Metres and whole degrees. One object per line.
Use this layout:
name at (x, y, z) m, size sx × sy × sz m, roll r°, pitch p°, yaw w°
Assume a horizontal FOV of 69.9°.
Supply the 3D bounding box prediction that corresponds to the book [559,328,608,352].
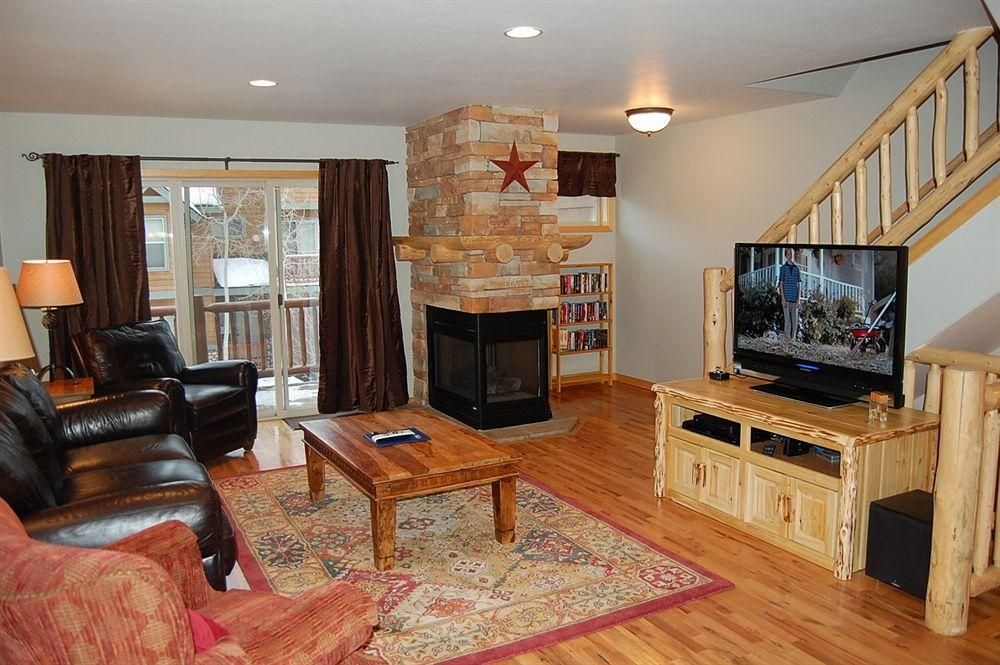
book at (0.976, 0.087, 8.324) m, size 0.630 × 0.252 × 0.065 m, roll -6°, pitch 11°, yaw -26°

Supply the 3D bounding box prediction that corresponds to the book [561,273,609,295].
book at (0.963, -0.568, 8.320) m, size 0.627 × 0.248 × 0.191 m, roll -7°, pitch 11°, yaw -34°

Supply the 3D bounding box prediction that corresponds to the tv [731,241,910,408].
tv at (2.128, -0.047, 4.684) m, size 0.328 × 0.782 × 1.166 m, roll -5°, pitch 8°, yaw -29°

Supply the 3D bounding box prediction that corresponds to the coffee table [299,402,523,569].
coffee table at (-0.472, 0.821, 4.631) m, size 0.955 × 0.465 × 1.365 m, roll -4°, pitch 9°, yaw -31°

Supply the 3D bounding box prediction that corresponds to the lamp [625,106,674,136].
lamp at (1.311, -1.882, 6.403) m, size 0.332 × 0.139 × 0.306 m, roll -1°, pitch 2°, yaw -2°

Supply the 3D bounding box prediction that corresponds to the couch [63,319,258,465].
couch at (-2.653, 0.455, 6.115) m, size 1.367 × 1.171 × 1.110 m, roll 5°, pitch 10°, yaw 29°

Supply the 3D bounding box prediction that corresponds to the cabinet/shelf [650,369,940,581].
cabinet/shelf at (1.990, 0.833, 4.724) m, size 1.138 × 0.890 × 1.860 m, roll -7°, pitch 11°, yaw -35°

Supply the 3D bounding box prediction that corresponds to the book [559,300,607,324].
book at (0.961, -0.232, 8.316) m, size 0.643 × 0.255 × 0.123 m, roll -7°, pitch 11°, yaw -30°
